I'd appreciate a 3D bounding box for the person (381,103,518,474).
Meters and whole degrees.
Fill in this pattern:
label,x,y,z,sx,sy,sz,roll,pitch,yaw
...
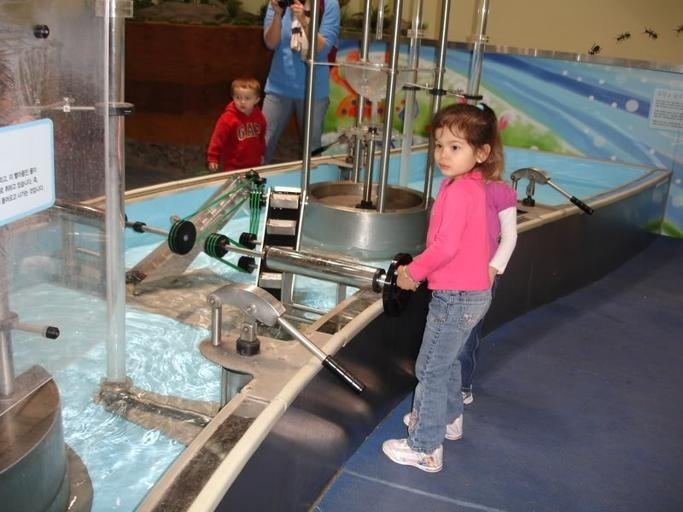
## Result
label,x,y,z,sx,sy,sz,roll,pitch,yaw
person,0.318,0.091,1.483,0.272,1.006,0.452,10,23,17
